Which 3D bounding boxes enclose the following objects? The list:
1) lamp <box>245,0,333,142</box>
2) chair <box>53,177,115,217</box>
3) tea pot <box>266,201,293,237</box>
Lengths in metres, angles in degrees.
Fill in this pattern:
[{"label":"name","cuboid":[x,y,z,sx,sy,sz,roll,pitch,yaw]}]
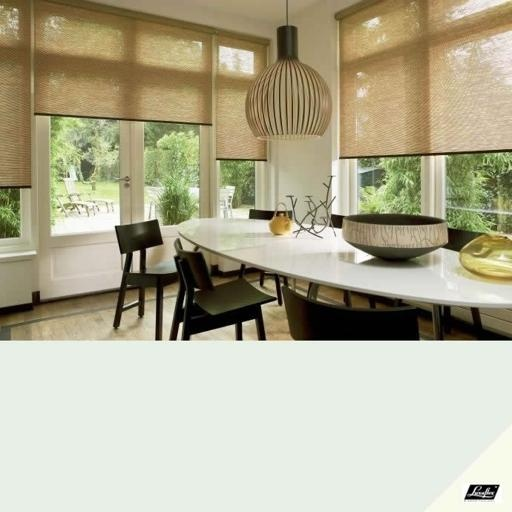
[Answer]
[{"label":"lamp","cuboid":[0.179,-0.973,2.377,0.407,0.620,0.334,8,14,41]},{"label":"chair","cuboid":[-1.630,-0.539,3.911,0.339,0.240,0.325,11,15,30]},{"label":"tea pot","cuboid":[0.157,-0.218,2.647,0.145,0.198,0.139,4,4,0]}]
